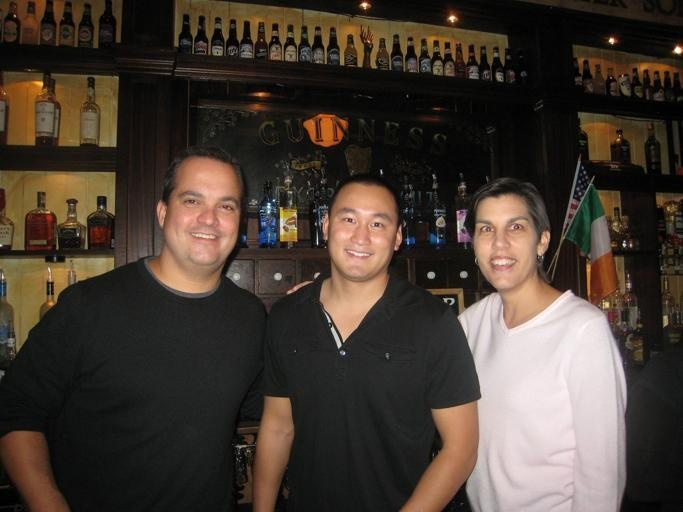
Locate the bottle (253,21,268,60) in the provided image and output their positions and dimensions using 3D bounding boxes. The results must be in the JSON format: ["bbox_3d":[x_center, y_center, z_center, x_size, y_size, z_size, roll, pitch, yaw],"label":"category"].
[{"bbox_3d":[-0.659,-1.760,4.867,0.109,0.342,0.214,0,-1,-8],"label":"bottle"}]

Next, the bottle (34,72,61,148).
[{"bbox_3d":[-2.167,-1.055,4.410,0.164,0.524,0.308,0,-1,-27],"label":"bottle"}]

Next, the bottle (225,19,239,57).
[{"bbox_3d":[-0.878,-1.743,4.784,0.106,0.360,0.291,0,-1,-10],"label":"bottle"}]

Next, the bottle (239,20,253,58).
[{"bbox_3d":[-0.765,-1.725,4.745,0.094,0.345,0.217,0,-1,-12],"label":"bottle"}]
